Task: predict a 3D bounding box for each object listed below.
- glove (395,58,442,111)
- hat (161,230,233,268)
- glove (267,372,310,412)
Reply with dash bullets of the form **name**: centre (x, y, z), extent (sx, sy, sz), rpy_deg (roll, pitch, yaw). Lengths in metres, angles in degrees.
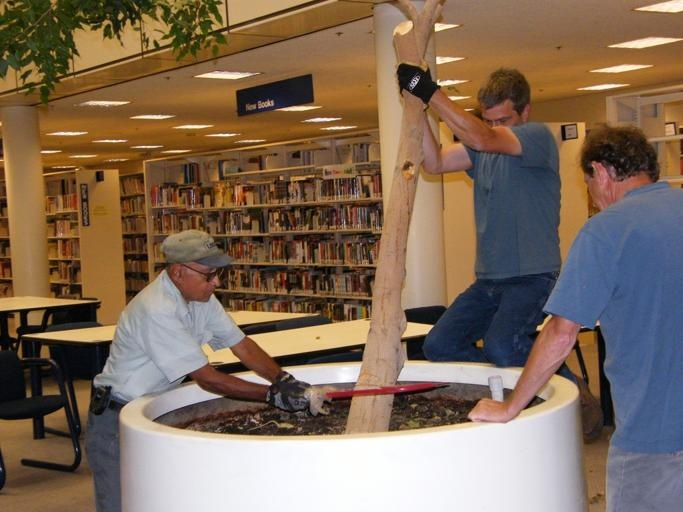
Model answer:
- **glove**: centre (0.263, -0.606, 2.153), extent (0.169, 0.111, 0.064), rpy_deg (18, -17, -4)
- **hat**: centre (-0.627, -0.032, 2.719), extent (0.277, 0.109, 0.168), rpy_deg (1, 6, -6)
- **glove**: centre (-0.202, 0.516, 2.310), extent (0.157, 0.058, 0.123), rpy_deg (19, 47, 26)
